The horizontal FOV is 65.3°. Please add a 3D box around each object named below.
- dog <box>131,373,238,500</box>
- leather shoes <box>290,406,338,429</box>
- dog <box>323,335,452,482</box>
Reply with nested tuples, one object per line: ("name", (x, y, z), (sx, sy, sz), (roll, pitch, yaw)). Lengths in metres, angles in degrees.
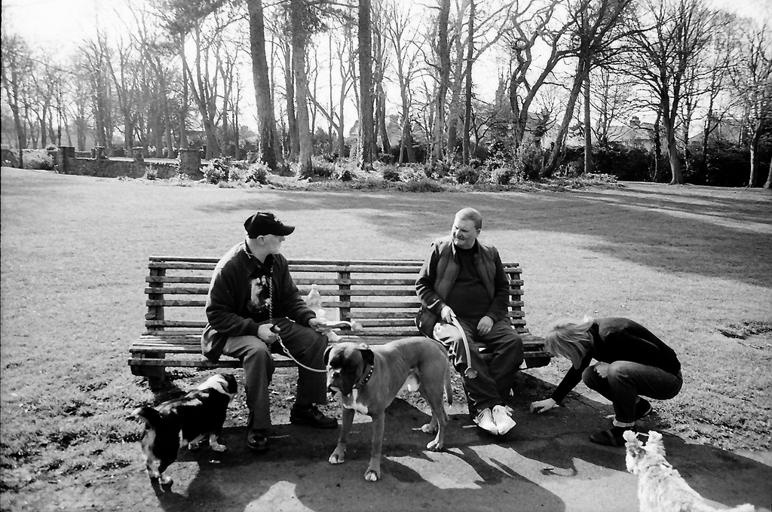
("dog", (-2.391, 2.032, 7.313), (0.419, 0.958, 1.631), (9, 14, 22))
("leather shoes", (-0.960, 2.146, 8.005), (0.575, 0.279, 0.283), (3, 4, 3))
("dog", (0.050, 1.810, 7.770), (2.198, 1.711, 0.765), (-5, 9, -43))
